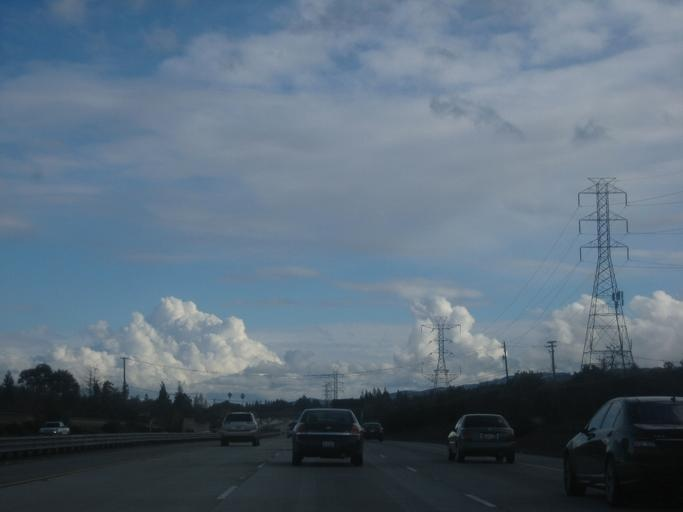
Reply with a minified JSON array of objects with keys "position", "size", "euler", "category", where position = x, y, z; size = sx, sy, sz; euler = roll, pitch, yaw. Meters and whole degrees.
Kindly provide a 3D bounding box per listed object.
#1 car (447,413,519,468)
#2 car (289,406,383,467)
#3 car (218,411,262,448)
[{"position":[5.462,7.191,37.595],"size":[2.179,1.888,2.440],"euler":[-2,-9,1],"category":"car"},{"position":[-0.503,6.556,34.190],"size":[2.439,1.995,1.204],"euler":[-1,-9,-5],"category":"car"},{"position":[-5.401,9.271,51.075],"size":[1.928,1.761,1.940],"euler":[0,-9,-8],"category":"car"}]
